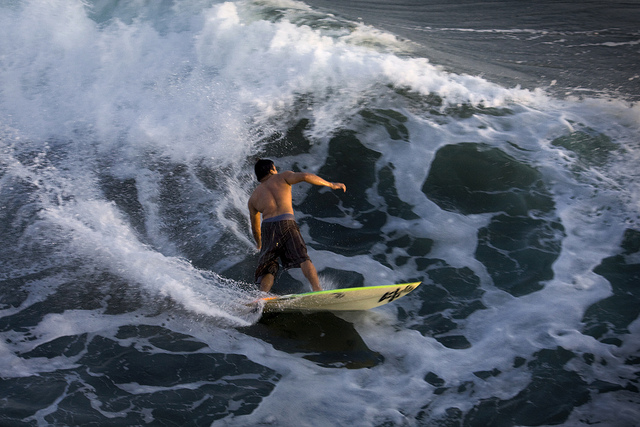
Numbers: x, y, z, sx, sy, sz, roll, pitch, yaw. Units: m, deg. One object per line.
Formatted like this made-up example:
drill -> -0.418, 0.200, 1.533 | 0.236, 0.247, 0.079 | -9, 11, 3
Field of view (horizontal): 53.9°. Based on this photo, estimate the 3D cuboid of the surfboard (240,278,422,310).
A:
surfboard -> 0.127, 1.332, 10.314 | 2.541, 0.300, 0.166 | -6, 41, -1
